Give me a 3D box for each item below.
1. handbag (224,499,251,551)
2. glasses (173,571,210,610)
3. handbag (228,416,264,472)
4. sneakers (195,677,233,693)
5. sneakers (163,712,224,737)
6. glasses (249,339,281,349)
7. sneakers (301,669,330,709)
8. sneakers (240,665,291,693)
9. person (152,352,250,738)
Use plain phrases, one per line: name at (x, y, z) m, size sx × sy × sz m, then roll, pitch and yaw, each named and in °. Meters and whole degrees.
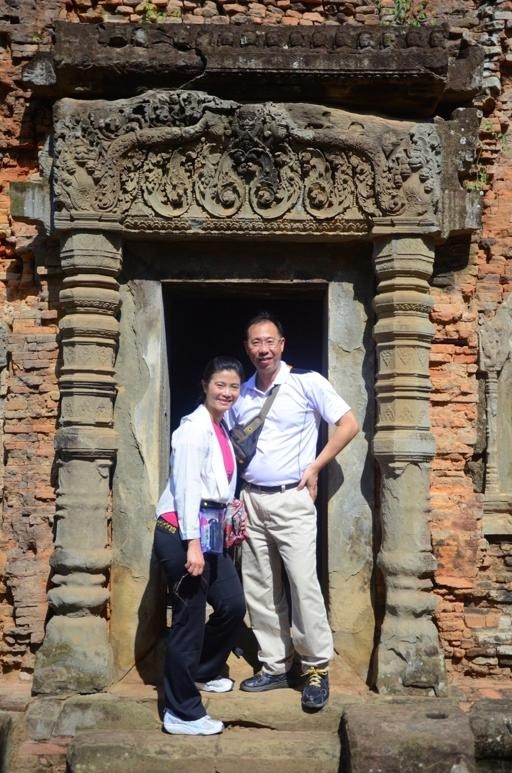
handbag at (-0.128, 0.778, 6.196) m, size 0.104 × 0.250 × 0.165 m, roll 4°, pitch 6°, yaw 40°
glasses at (-0.357, 1.093, 5.917) m, size 0.194 × 0.197 × 0.114 m, roll 1°, pitch -9°, yaw -4°
handbag at (-0.028, 0.327, 6.380) m, size 0.206 × 0.279 × 0.105 m, roll -25°, pitch -18°, yaw 26°
sneakers at (-0.249, 1.725, 6.402) m, size 0.202 × 0.091 × 0.077 m, roll -4°, pitch 6°, yaw 0°
sneakers at (-0.339, 1.841, 6.041) m, size 0.360 × 0.161 × 0.121 m, roll 0°, pitch -4°, yaw 0°
glasses at (0.060, -0.243, 6.378) m, size 0.181 × 0.067 × 0.079 m, roll 2°, pitch -9°, yaw -15°
sneakers at (0.331, 1.726, 6.302) m, size 0.154 × 0.241 × 0.343 m, roll 0°, pitch -9°, yaw 2°
sneakers at (0.053, 1.720, 6.478) m, size 0.308 × 0.158 × 0.112 m, roll 1°, pitch 1°, yaw -6°
person at (-0.312, 0.888, 6.149) m, size 0.489 × 2.040 × 0.731 m, roll 0°, pitch -9°, yaw 0°
